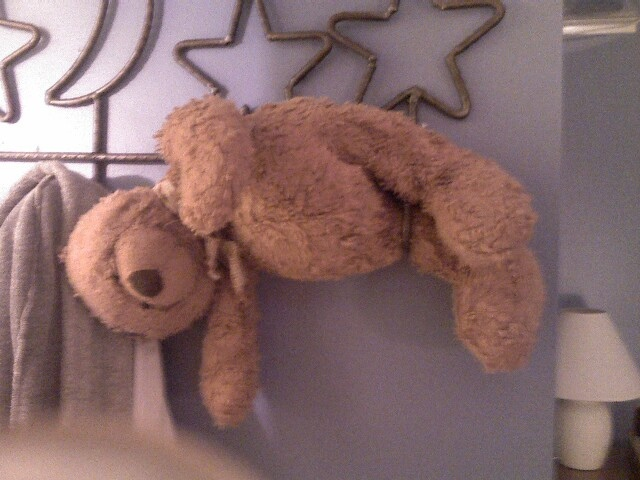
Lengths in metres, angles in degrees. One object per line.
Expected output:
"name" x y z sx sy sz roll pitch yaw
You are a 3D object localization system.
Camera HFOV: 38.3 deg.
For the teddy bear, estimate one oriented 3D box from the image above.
"teddy bear" -0.033 0.065 2.023 1.078 0.511 0.653 -3 56 -3
